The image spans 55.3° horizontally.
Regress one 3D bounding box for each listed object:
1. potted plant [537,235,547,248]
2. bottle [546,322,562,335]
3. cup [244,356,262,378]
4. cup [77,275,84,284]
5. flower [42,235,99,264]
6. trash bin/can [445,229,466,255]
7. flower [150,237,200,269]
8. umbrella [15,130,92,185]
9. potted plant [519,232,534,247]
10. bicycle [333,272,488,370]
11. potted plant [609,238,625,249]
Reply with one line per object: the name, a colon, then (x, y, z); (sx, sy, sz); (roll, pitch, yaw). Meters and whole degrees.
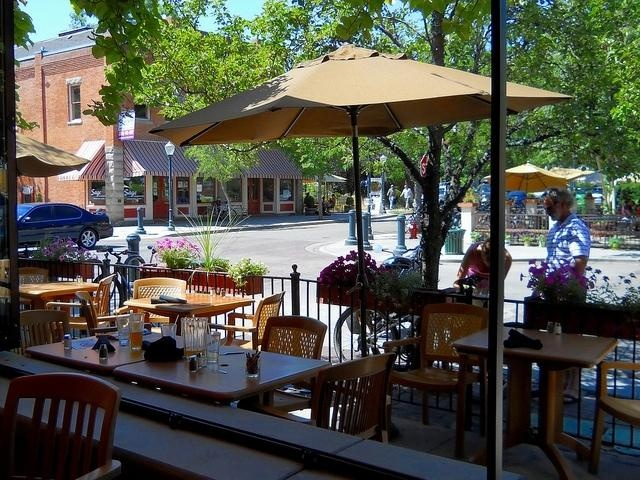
potted plant: (8.330, 0.061, 22.977); (0.477, 0.521, 0.463); (0, 6, 7)
bottle: (2.254, 0.853, 5.909); (0.076, 0.100, 0.125); (-2, -1, -43)
cup: (-0.506, 0.945, 4.590); (0.128, 0.229, 0.133); (1, -3, 0)
cup: (-3.789, 0.640, 9.712); (0.100, 0.159, 0.103); (2, 5, 0)
flower: (-5.007, 0.211, 11.684); (0.962, 0.436, 0.704); (6, -1, -5)
trash bin/can: (4.232, 0.088, 19.268); (0.767, 0.869, 0.779); (0, 1, -10)
flower: (-2.809, 0.274, 11.758); (0.702, 0.514, 0.618); (2, 2, -36)
umbrella: (-4.634, -1.340, 10.253); (1.399, 0.594, 1.477); (-2, 4, -3)
potted plant: (8.053, 0.005, 23.784); (0.452, 0.334, 0.464); (-6, -12, 41)
bicycle: (0.896, 1.083, 7.850); (1.746, 1.152, 0.888); (-3, -7, 34)
potted plant: (10.935, 0.138, 22.509); (0.394, 0.420, 0.396); (-4, 4, -32)
